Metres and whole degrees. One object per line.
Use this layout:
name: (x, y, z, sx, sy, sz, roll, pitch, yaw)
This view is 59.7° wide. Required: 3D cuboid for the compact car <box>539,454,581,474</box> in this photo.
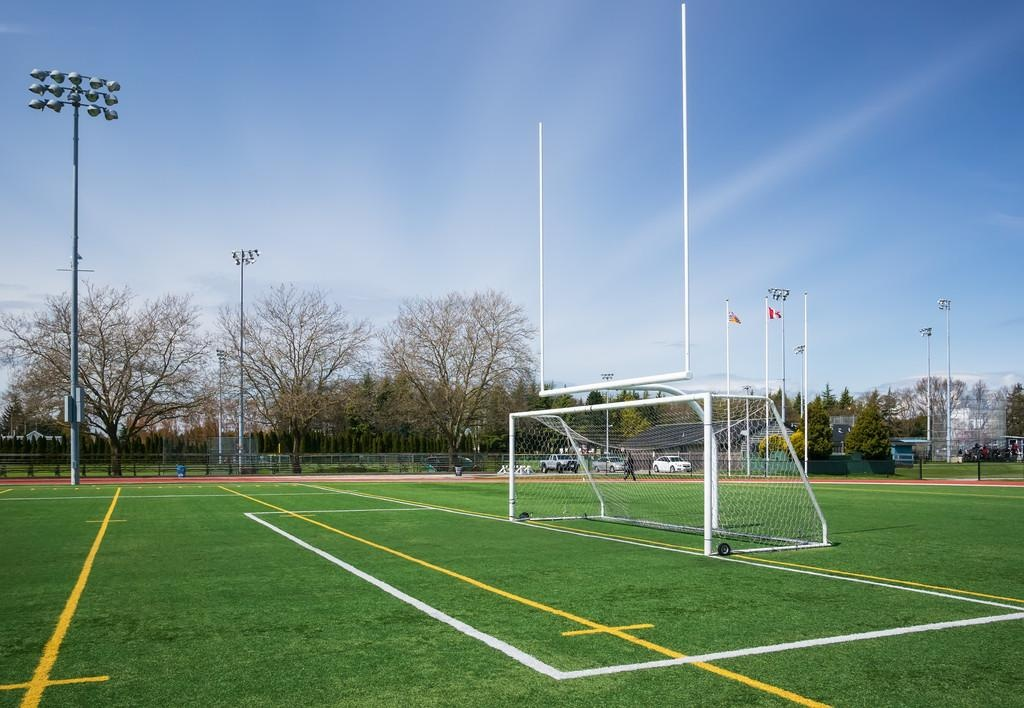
compact car: (2.100, 5.079, 41.223, 1.365, 0.916, 2.597, 2, -9, -27)
